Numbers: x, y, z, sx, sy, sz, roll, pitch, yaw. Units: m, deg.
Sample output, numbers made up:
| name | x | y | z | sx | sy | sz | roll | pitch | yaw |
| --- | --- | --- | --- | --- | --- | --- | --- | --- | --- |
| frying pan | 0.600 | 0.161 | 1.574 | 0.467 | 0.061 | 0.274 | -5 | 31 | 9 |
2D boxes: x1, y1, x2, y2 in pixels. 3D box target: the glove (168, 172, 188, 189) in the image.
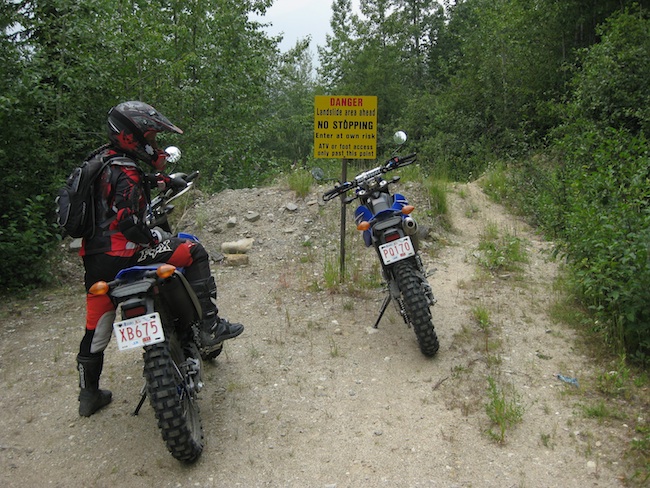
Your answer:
| name | x | y | z | sx | sy | sz | roll | pitch | yaw |
| --- | --- | --- | --- | --- | --- | --- | --- | --- | --- |
| glove | -1.837 | -0.823 | 7.608 | 0.148 | 0.196 | 0.221 | 16 | 46 | 10 |

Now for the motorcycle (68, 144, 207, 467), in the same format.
| name | x | y | z | sx | sy | sz | roll | pitch | yaw |
| --- | --- | --- | --- | --- | --- | --- | --- | --- | --- |
| motorcycle | -1.960 | 0.716 | 7.115 | 0.960 | 3.577 | 1.249 | -4 | 9 | -7 |
